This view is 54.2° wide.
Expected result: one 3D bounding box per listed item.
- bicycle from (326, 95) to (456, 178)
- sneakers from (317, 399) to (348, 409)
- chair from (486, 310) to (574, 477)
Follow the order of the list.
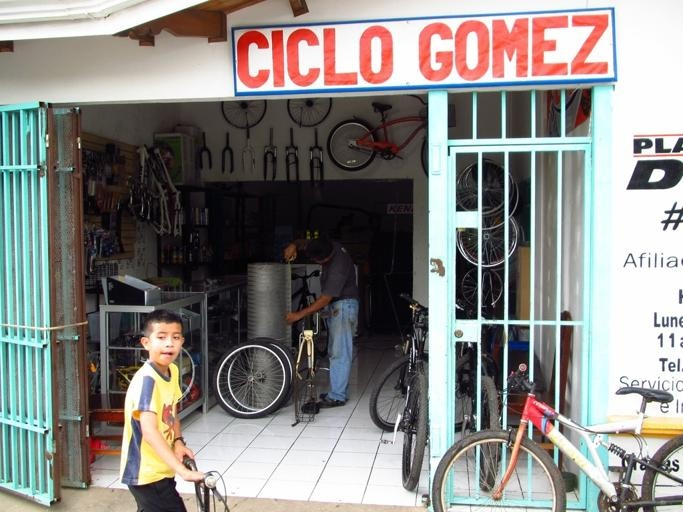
[{"bbox_3d":[0.723,-1.622,8.992,1.718,1.178,0.938,7,-18,4],"label":"bicycle"},{"bbox_3d":[-0.091,1.524,6.926,0.296,0.125,0.105,5,-7,-8],"label":"sneakers"},{"bbox_3d":[1.564,1.154,5.448,0.682,1.138,0.634,26,-27,-35],"label":"chair"}]
